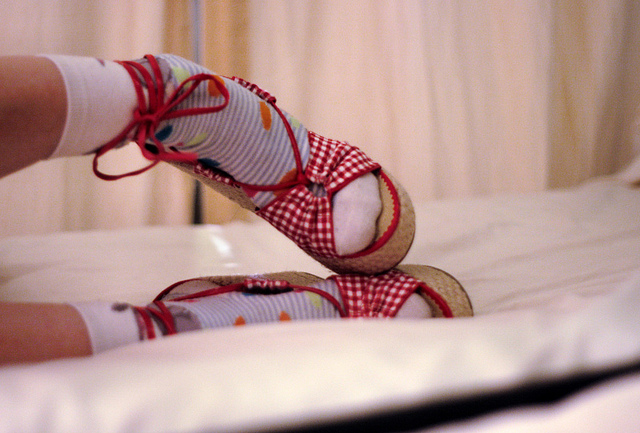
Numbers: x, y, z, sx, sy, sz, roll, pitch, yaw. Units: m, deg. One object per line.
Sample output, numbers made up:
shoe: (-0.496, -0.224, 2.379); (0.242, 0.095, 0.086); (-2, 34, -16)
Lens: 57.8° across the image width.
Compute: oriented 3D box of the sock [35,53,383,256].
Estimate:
sock: (-0.093, -0.057, 1.023); (0.698, 0.192, 0.265); (17, 70, -30)
